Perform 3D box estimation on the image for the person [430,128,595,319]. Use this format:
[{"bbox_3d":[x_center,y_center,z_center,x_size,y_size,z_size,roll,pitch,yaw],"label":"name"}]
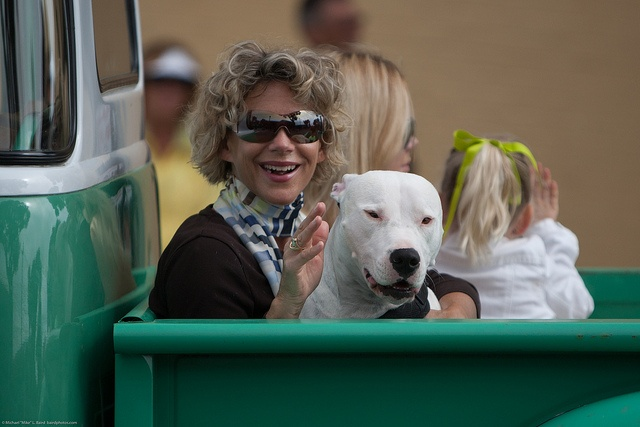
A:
[{"bbox_3d":[1.170,0.040,5.801,0.843,0.762,1.251,9,-52,29],"label":"person"}]
